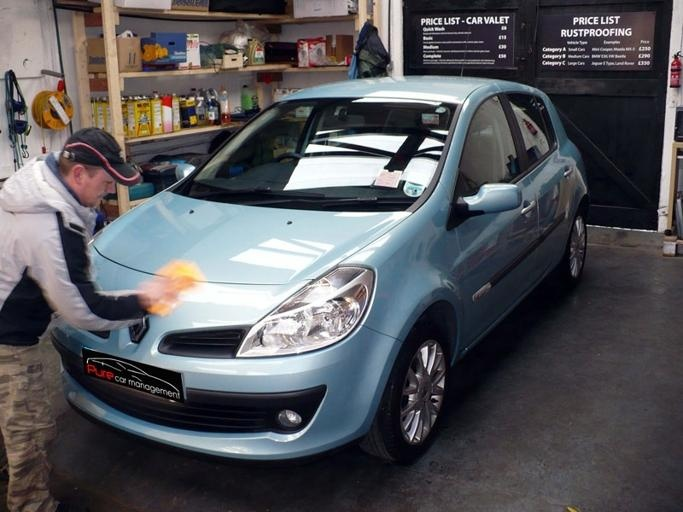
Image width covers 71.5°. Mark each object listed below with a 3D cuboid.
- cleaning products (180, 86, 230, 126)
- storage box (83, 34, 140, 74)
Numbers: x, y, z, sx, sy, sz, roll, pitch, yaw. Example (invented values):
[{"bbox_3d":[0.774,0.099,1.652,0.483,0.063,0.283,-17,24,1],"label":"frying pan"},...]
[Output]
[{"bbox_3d":[-1.726,-1.864,5.955,0.386,0.372,0.665,35,26,21],"label":"cleaning products"},{"bbox_3d":[-2.314,-2.048,4.818,0.501,0.342,0.275,8,15,32],"label":"storage box"}]
